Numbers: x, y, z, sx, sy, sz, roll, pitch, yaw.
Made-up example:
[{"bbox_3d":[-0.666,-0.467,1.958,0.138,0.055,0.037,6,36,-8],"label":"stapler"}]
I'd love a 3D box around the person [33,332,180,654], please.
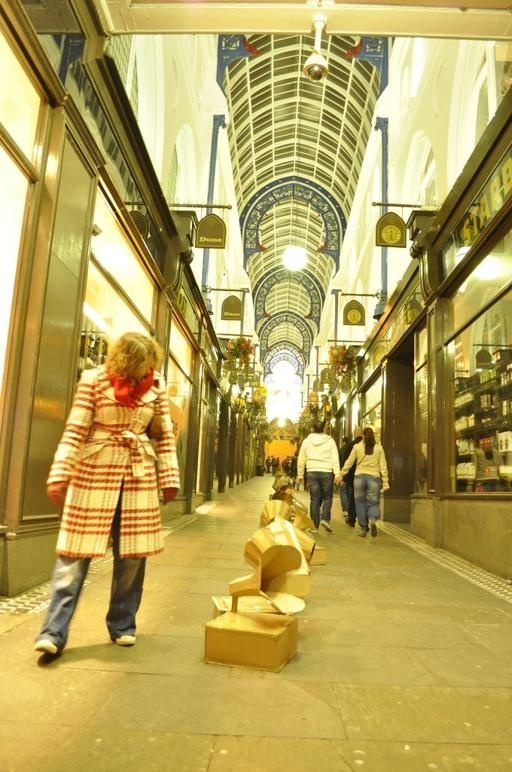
[{"bbox_3d":[-0.709,0.496,2.420,0.622,1.539,0.407,9,-14,-26],"label":"person"}]

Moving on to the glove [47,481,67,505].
[{"bbox_3d":[-0.906,0.502,2.220,0.065,0.099,0.209,6,-15,-13],"label":"glove"}]

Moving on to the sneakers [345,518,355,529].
[{"bbox_3d":[1.926,2.849,9.945,0.162,0.218,0.200,5,-10,-17],"label":"sneakers"}]
